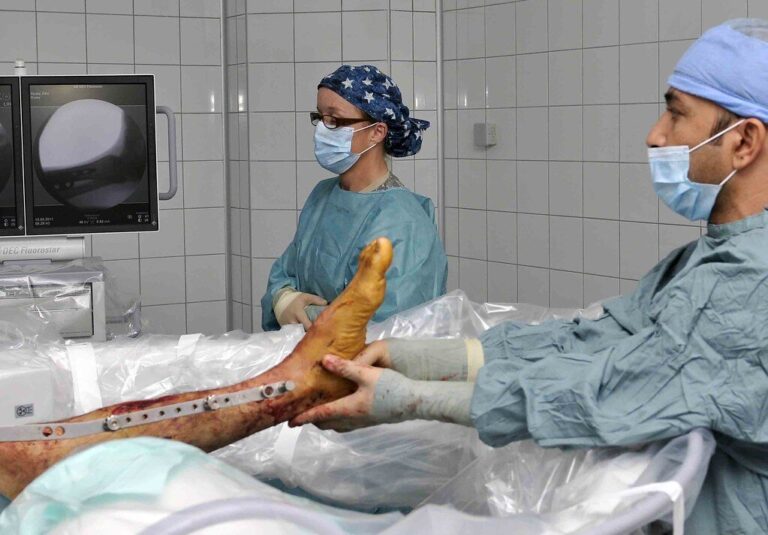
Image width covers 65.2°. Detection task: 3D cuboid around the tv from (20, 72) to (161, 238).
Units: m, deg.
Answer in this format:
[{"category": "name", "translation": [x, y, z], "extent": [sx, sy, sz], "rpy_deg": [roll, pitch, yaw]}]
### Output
[{"category": "tv", "translation": [-1.031, -0.395, 2.082], "extent": [0.495, 0.644, 0.059], "rpy_deg": [-2, 2, -8]}]

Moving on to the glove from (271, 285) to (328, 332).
[{"category": "glove", "translation": [-0.291, 0.130, 1.944], "extent": [0.121, 0.146, 0.060], "rpy_deg": [7, -6, 28]}]

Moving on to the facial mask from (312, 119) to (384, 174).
[{"category": "facial mask", "translation": [-0.132, -0.427, 2.065], "extent": [0.174, 0.143, 0.155], "rpy_deg": [-15, 24, -21]}]

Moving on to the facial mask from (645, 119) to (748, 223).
[{"category": "facial mask", "translation": [0.630, -0.190, 1.246], "extent": [0.162, 0.114, 0.157], "rpy_deg": [-23, 3, 19]}]
